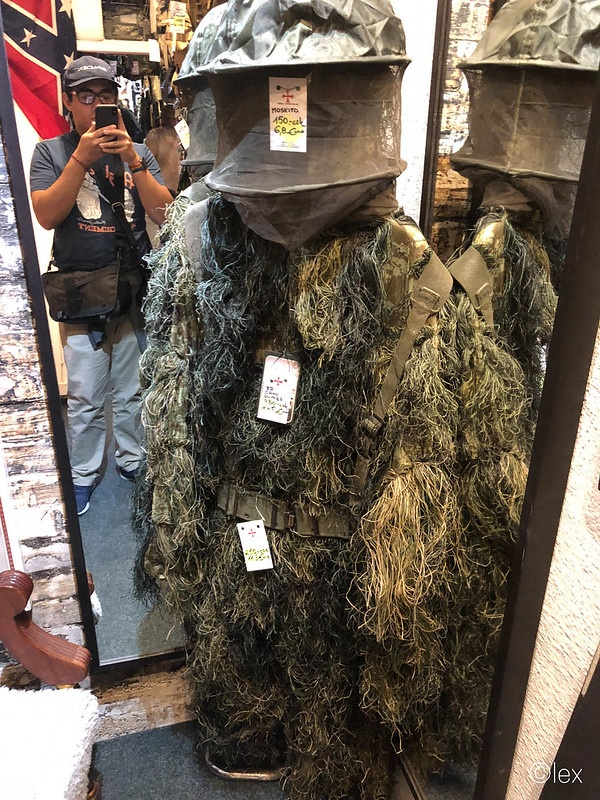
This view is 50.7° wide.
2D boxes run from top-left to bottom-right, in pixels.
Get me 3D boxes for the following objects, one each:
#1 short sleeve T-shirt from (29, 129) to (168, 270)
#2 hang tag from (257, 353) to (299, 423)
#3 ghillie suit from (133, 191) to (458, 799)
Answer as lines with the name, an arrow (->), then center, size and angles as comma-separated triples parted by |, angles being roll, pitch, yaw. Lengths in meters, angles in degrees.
short sleeve T-shirt -> -0.403, -0.387, 1.258 | 0.251, 0.260, 0.140 | -17, 47, -38
hang tag -> -0.036, -0.021, 1.091 | 0.069, 0.123, 0.012 | 8, -10, -1
ghillie suit -> -0.038, 0.264, 1.224 | 0.701, 1.185, 0.406 | 14, 33, 18
